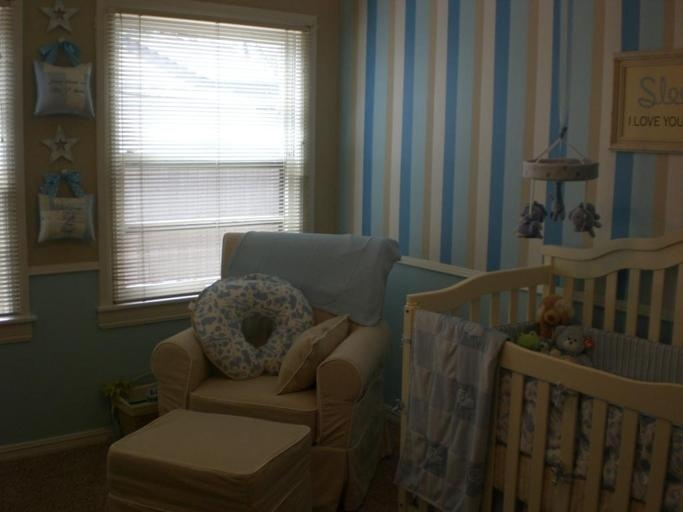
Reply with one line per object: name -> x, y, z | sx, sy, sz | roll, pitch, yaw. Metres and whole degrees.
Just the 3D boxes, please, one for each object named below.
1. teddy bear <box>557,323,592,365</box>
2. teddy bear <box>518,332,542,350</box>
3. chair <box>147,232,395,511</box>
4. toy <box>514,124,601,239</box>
teddy bear -> 1.018, 0.427, 2.661 | 0.145, 0.209, 0.130 | 9, -22, 23
teddy bear -> 0.835, 0.371, 2.652 | 0.084, 0.084, 0.076 | -14, 5, 32
chair -> -0.319, 0.652, 3.298 | 0.935, 1.210, 0.945 | 1, 0, 16
toy -> 1.019, -0.324, 2.789 | 0.352, 0.557, 0.399 | 3, 10, 27
